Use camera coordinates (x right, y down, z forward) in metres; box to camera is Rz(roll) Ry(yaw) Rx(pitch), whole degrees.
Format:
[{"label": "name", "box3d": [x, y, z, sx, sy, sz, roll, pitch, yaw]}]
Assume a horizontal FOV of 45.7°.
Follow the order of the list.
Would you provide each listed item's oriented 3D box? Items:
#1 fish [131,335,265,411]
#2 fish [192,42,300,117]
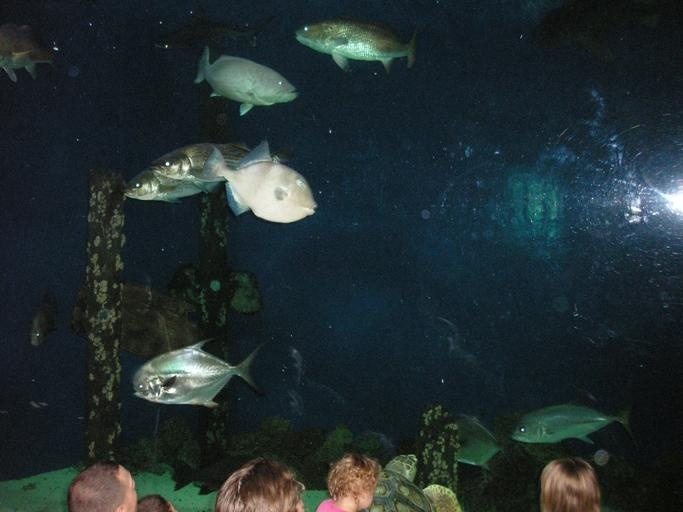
[{"label": "fish", "box3d": [-1.524, 1.259, 8.612, 1.172, 0.722, 0.632, 2, 76, 5]}, {"label": "fish", "box3d": [-1.110, -1.976, 8.779, 1.343, 0.750, 0.481, 17, 36, 11]}]
